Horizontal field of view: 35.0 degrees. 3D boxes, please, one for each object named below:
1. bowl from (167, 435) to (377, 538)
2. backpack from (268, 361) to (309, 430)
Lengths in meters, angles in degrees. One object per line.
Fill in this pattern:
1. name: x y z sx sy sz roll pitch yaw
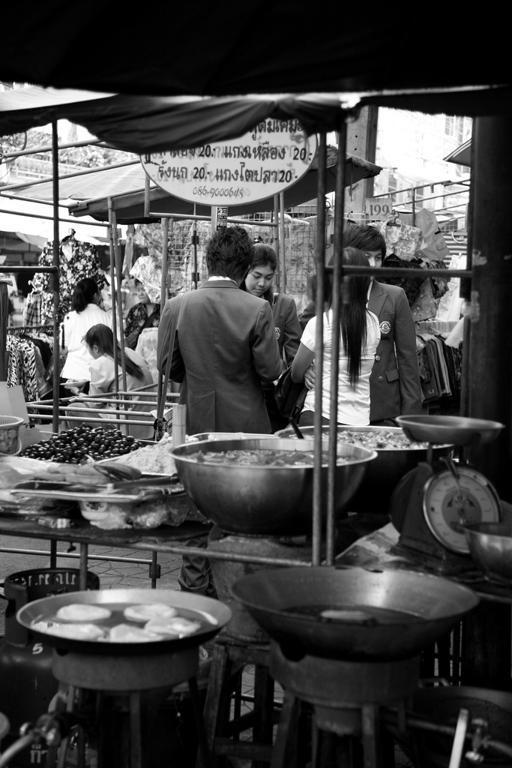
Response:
1. bowl: 0.030 0.227 1.948 0.493 0.229 0.537 0 4 0
2. backpack: 0.146 0.046 3.861 0.195 0.352 0.412 -1 6 6
